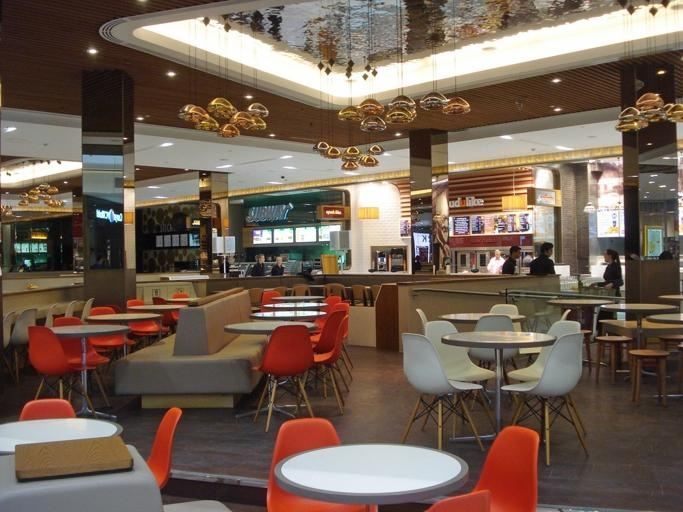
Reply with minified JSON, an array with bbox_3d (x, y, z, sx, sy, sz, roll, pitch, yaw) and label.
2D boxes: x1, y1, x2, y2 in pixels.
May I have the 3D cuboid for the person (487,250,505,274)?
[{"bbox_3d":[4.532,0.152,17.693,0.465,0.637,0.519,0,3,11],"label":"person"}]

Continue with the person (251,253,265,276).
[{"bbox_3d":[-2.307,0.255,16.526,0.349,0.546,1.583,-2,2,-9],"label":"person"}]

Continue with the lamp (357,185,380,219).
[{"bbox_3d":[0.919,-1.854,20.526,0.750,1.244,1.434,-1,3,2],"label":"lamp"}]

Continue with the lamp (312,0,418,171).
[{"bbox_3d":[0.393,-3.067,10.636,0.610,1.855,2.203,2,-1,-23],"label":"lamp"}]

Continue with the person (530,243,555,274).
[{"bbox_3d":[4.159,0.069,12.480,0.467,0.674,0.575,0,3,17],"label":"person"}]

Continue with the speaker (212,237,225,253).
[{"bbox_3d":[-3.733,-0.337,18.014,0.348,0.503,0.192,-2,4,-12],"label":"speaker"}]

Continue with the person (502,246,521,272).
[{"bbox_3d":[3.829,0.090,13.590,0.316,0.629,1.159,0,3,16],"label":"person"}]

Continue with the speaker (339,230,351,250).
[{"bbox_3d":[0.085,-0.516,19.510,0.338,0.545,0.201,-2,4,-16],"label":"speaker"}]

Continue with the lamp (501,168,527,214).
[{"bbox_3d":[5.010,-1.914,17.398,0.730,1.235,0.954,0,3,13],"label":"lamp"}]
